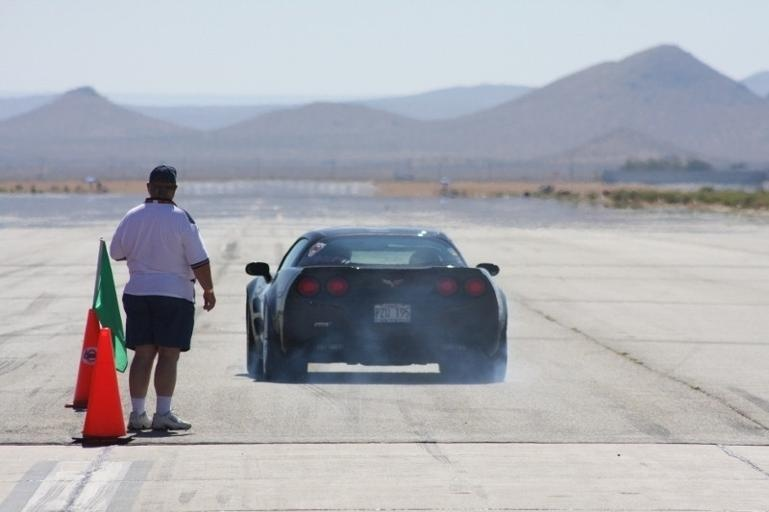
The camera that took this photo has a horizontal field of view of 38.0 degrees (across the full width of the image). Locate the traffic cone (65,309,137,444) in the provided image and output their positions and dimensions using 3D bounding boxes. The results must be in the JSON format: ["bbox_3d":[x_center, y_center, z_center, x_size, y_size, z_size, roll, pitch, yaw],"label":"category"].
[{"bbox_3d":[-2.618,1.267,10.461,0.567,0.919,0.558,4,-3,32],"label":"traffic cone"}]

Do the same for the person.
[{"bbox_3d":[-2.096,0.360,11.229,1.185,2.411,0.941,0,1,16],"label":"person"}]
